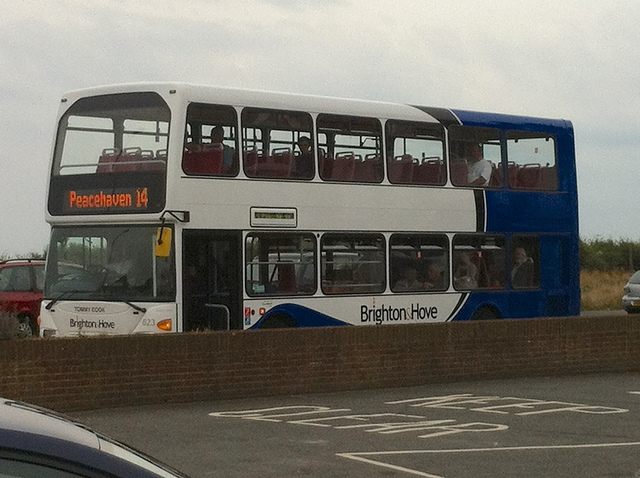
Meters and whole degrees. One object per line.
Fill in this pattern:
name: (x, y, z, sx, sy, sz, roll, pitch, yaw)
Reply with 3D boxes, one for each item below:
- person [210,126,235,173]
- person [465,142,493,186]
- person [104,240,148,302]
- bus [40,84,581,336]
person: (-1.835, -1.667, 16.424, 0.425, 0.870, 0.371, 2, 3, 4)
person: (3.423, -1.647, 19.512, 0.574, 0.997, 0.618, -5, 5, -31)
person: (-3.414, 0.571, 15.625, 0.728, 1.068, 0.199, 3, 3, 28)
bus: (0.993, -0.108, 19.250, 10.485, 5.330, 3.690, 2, -2, -28)
